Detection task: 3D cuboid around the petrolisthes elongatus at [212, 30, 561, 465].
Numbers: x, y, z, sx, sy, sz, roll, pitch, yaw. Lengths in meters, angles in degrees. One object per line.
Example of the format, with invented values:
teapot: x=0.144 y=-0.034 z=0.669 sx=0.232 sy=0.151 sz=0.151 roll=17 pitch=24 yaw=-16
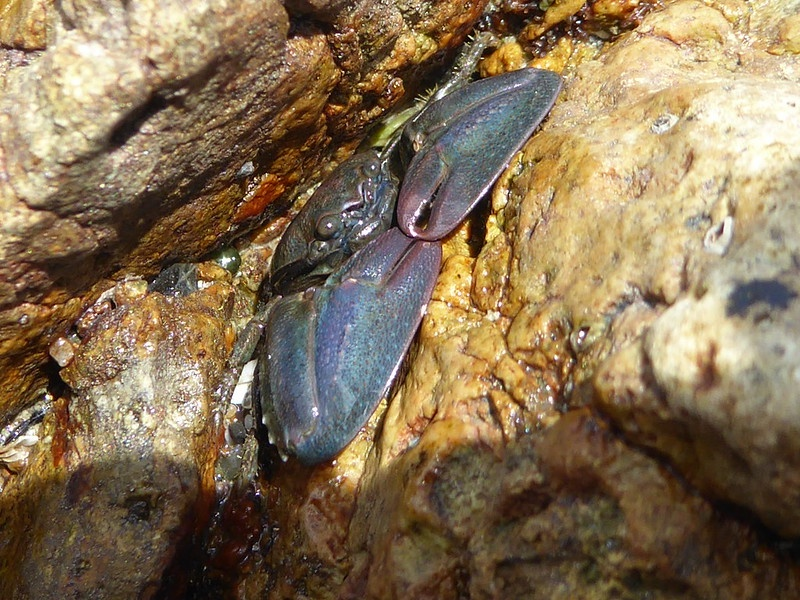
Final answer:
petrolisthes elongatus: x=-0.038 y=-0.276 z=5.726 sx=1.030 sy=0.799 sz=2.920 roll=29 pitch=94 yaw=30
